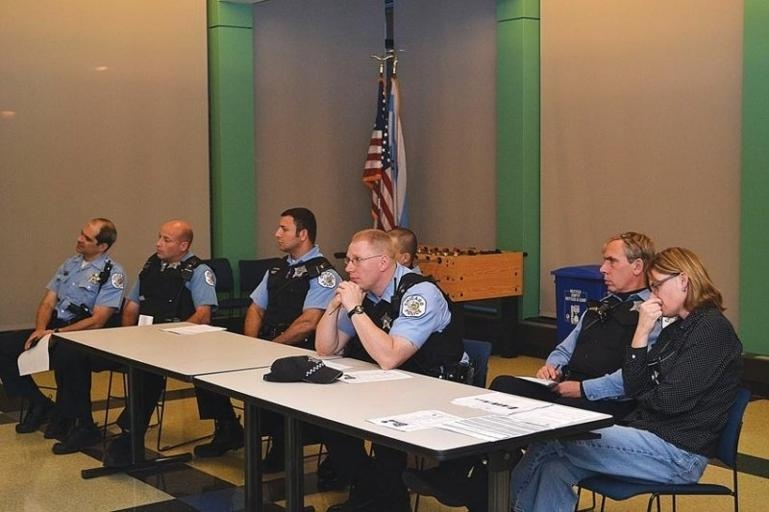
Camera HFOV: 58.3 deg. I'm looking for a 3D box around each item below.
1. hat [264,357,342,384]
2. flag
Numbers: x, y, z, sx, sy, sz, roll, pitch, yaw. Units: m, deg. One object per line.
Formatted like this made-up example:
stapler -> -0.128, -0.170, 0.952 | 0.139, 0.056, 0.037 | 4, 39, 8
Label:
hat -> -0.430, 0.609, 3.645 | 0.290, 0.090, 0.183 | -1, -3, 0
flag -> 0.004, -1.227, 8.202 | 0.506, 1.775, 0.450 | -1, 10, 0
